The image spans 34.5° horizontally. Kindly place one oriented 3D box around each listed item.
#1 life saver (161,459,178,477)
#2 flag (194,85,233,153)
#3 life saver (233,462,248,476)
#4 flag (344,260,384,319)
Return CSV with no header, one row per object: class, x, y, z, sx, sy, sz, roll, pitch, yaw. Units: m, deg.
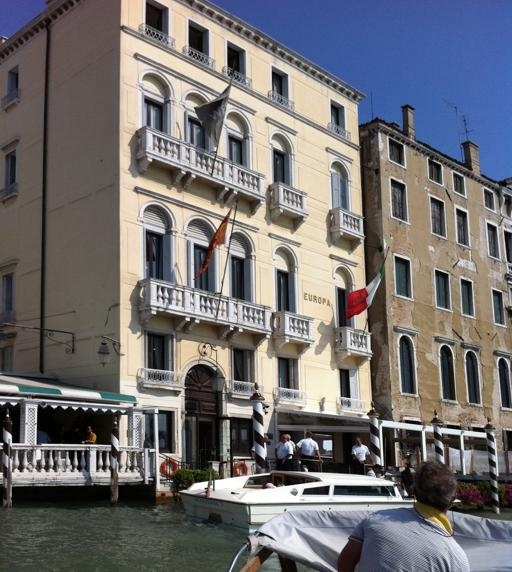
life saver,-2.620,5.184,23.297,0.489,0.554,0.580,2,-17,-8
flag,-1.629,-5.779,27.849,1.143,2.731,3.284,0,-17,-3
life saver,-0.550,5.422,24.418,0.327,0.505,0.166,1,0,-36
flag,4.252,0.389,33.303,1.550,1.844,1.571,-5,-17,13
